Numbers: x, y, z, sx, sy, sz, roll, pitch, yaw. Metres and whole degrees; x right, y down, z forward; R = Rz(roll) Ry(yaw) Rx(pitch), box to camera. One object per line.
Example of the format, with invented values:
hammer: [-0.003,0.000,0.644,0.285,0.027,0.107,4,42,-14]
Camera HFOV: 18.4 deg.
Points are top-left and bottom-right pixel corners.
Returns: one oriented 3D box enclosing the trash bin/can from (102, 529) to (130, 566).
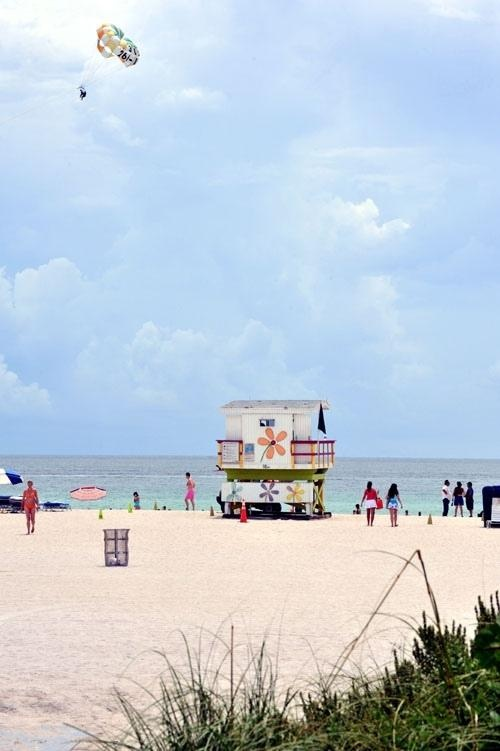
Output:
trash bin/can: [-1.908,2.429,21.933,0.349,0.521,0.677,0,-4,-6]
